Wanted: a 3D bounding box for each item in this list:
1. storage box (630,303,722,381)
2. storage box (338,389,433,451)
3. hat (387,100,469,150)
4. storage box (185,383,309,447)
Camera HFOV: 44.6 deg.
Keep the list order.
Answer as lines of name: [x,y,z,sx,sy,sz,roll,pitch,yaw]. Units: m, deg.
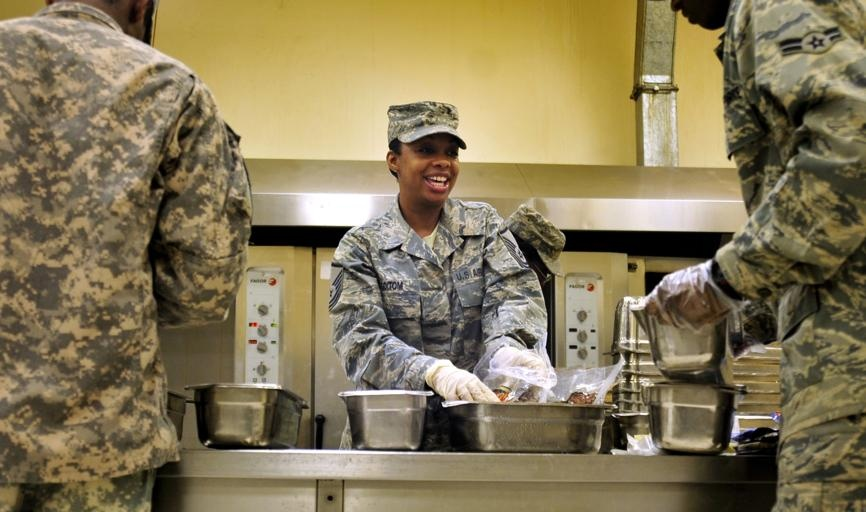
storage box: [0.765,0.252,3.304,0.256,0.257,0.258,-5,-12,10]
storage box: [-0.099,0.511,3.217,0.338,0.166,0.279,-5,-14,26]
hat: [-0.013,-0.465,3.838,0.266,0.162,0.327,-1,1,-36]
storage box: [-0.574,0.522,3.325,0.330,0.156,0.416,-2,-16,6]
